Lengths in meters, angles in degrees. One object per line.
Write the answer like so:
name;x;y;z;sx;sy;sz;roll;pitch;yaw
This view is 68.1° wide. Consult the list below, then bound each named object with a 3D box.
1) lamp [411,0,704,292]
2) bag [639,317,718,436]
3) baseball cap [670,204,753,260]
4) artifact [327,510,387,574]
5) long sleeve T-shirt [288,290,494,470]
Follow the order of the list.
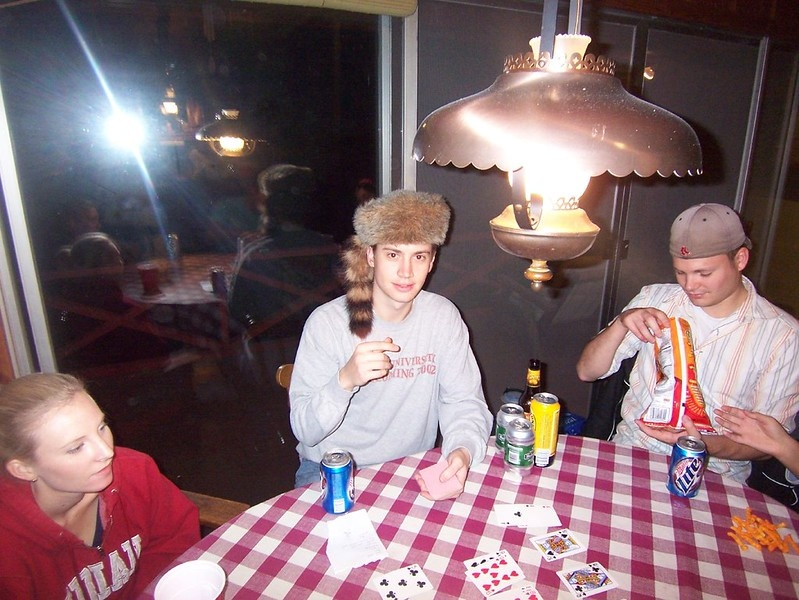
lamp;0.457;-0.547;2.188;0.939;0.965;0.894;1;13;0
bag;1.315;0.341;2.784;0.397;0.511;0.202;-2;1;32
baseball cap;1.514;-0.352;2.863;0.339;0.186;0.251;-20;21;-31
artifact;-0.180;0.924;2.282;0.212;0.091;0.214;-8;21;-20
long sleeve T-shirt;-0.118;0.443;3.095;0.863;0.825;0.915;-2;17;-20
